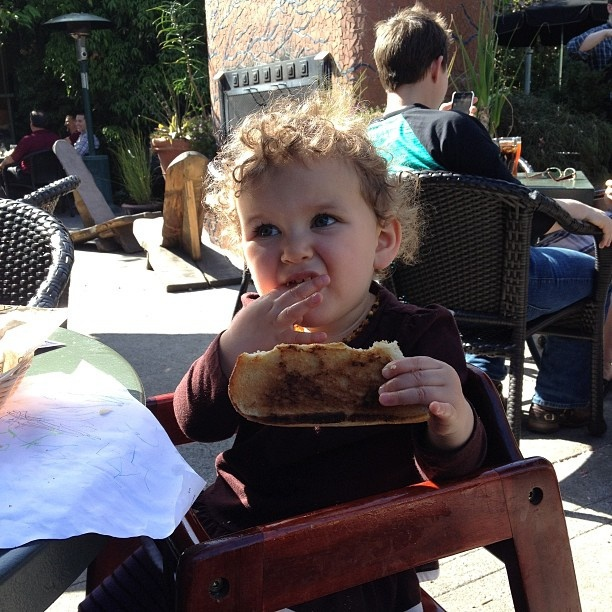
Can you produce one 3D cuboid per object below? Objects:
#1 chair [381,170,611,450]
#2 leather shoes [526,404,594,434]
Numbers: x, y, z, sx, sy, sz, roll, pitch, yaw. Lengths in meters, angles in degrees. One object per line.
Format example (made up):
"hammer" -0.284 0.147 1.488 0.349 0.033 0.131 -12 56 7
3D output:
"chair" 0.645 -0.113 2.351 0.803 0.913 0.765 -15 24 -34
"leather shoes" 1.010 0.453 2.448 0.267 0.109 0.101 -8 17 -15
